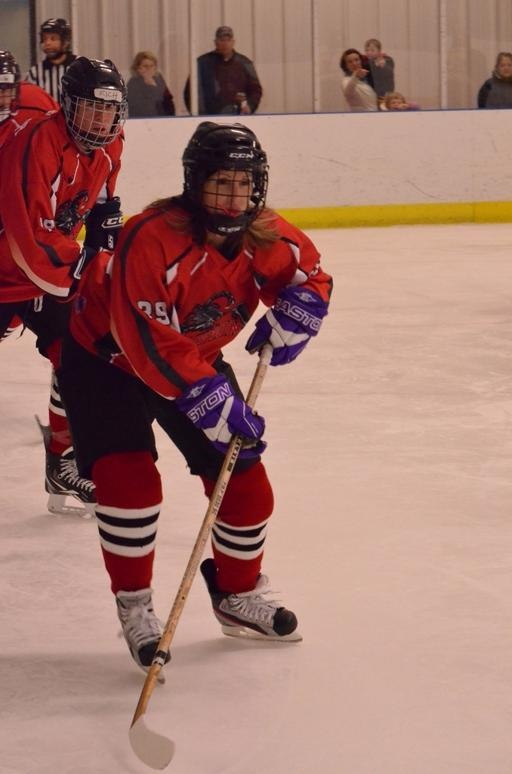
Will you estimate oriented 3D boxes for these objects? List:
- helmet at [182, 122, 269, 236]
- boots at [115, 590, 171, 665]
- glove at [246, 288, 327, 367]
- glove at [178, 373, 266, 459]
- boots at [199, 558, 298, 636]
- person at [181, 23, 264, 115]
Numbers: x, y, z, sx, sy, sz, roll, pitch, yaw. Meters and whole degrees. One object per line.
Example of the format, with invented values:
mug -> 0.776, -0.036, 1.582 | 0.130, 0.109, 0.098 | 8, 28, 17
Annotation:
helmet -> -0.074, -0.389, 1.529 | 0.169, 0.183, 0.201 | -3, 19, -24
boots -> -0.221, 0.424, 1.568 | 0.067, 0.162, 0.078 | -13, -25, -16
glove -> 0.066, -0.126, 1.753 | 0.182, 0.118, 0.071 | -47, -6, 10
glove -> -0.060, 0.048, 1.520 | 0.112, 0.172, 0.065 | -38, 29, 8
boots -> -0.004, 0.434, 1.676 | 0.081, 0.122, 0.240 | -20, 9, -43
person -> -0.258, -2.848, 7.630 | 0.573, 0.753, 0.232 | -2, 12, -3
